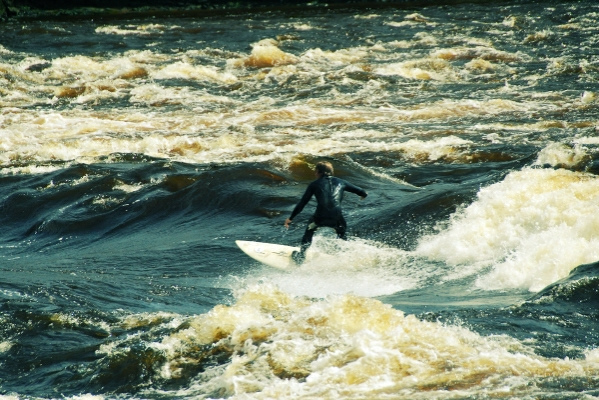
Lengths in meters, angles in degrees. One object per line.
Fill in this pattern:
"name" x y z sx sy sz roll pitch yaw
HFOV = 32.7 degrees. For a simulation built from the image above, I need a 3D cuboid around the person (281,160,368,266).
"person" 0.579 0.410 29.038 1.078 2.895 1.576 15 21 36
